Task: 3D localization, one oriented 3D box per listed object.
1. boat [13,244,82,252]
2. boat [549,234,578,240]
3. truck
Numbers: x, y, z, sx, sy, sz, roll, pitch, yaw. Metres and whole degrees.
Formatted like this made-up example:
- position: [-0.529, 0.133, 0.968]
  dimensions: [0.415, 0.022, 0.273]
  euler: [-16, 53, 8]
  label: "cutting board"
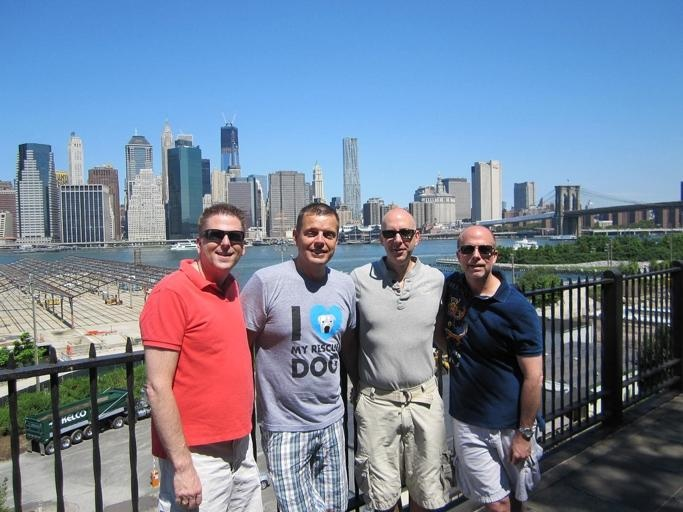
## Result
- position: [-89.726, -2.461, 179.576]
  dimensions: [17.661, 2.709, 14.278]
  euler: [-4, 5, -26]
  label: "boat"
- position: [48.154, -3.691, 127.190]
  dimensions: [4.104, 1.460, 9.335]
  euler: [0, 5, 16]
  label: "boat"
- position: [-6.103, 3.952, 14.476]
  dimensions: [1.688, 1.439, 3.270]
  euler: [1, 5, 27]
  label: "truck"
